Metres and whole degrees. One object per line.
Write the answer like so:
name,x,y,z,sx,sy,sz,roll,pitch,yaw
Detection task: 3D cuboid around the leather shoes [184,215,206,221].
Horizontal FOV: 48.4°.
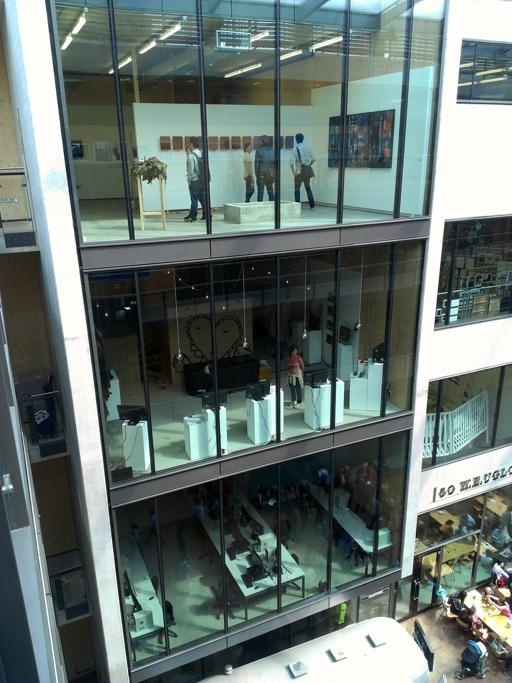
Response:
leather shoes,-1.016,-2.040,9.418,0.327,0.128,0.118,-10,16,-33

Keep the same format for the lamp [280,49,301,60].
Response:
lamp,0.557,-4.752,9.416,0.612,0.097,0.144,-20,21,-25

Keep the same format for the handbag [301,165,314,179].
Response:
handbag,0.927,-3.033,10.172,0.163,0.229,0.224,-8,40,-5

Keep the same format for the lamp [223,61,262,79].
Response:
lamp,-0.238,-4.334,9.071,1.092,0.157,0.111,-25,29,-32

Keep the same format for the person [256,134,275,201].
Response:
person,0.140,-2.952,9.765,0.387,1.063,0.142,-18,22,-37

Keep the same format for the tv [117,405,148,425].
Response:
tv,-2.131,1.245,9.842,0.561,0.385,0.318,4,28,-17

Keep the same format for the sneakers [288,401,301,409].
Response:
sneakers,0.803,1.314,11.755,0.246,0.165,0.095,-9,44,-14

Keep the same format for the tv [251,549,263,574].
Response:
tv,0.024,4.670,11.958,0.251,0.581,0.047,-12,19,-22

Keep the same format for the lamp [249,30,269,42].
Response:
lamp,0.039,-4.869,9.074,0.356,0.072,0.058,-17,55,14

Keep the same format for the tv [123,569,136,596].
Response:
tv,-2.381,4.569,10.606,0.222,0.728,0.035,-20,23,-41

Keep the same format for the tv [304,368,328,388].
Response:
tv,1.213,0.745,11.710,0.373,0.345,0.198,-7,14,-25

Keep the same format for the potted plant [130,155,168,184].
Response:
potted plant,-1.644,-2.629,8.774,0.558,0.381,0.264,-9,17,-15

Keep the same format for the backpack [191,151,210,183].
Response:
backpack,-0.923,-2.826,9.215,0.083,0.450,0.220,10,22,39

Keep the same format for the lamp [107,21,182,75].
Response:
lamp,-1.656,-4.243,8.197,1.340,0.145,0.150,-36,26,-5

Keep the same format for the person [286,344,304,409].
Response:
person,0.800,0.709,11.504,0.228,1.342,0.345,4,19,25

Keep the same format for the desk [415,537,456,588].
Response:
desk,5.100,6.202,15.913,1.908,1.219,0.451,2,11,-30

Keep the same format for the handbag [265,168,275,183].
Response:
handbag,0.239,-2.881,9.848,0.205,0.220,0.123,-16,21,-36

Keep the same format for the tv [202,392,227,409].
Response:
tv,-0.796,1.099,10.645,0.350,0.292,0.066,-7,36,-12
